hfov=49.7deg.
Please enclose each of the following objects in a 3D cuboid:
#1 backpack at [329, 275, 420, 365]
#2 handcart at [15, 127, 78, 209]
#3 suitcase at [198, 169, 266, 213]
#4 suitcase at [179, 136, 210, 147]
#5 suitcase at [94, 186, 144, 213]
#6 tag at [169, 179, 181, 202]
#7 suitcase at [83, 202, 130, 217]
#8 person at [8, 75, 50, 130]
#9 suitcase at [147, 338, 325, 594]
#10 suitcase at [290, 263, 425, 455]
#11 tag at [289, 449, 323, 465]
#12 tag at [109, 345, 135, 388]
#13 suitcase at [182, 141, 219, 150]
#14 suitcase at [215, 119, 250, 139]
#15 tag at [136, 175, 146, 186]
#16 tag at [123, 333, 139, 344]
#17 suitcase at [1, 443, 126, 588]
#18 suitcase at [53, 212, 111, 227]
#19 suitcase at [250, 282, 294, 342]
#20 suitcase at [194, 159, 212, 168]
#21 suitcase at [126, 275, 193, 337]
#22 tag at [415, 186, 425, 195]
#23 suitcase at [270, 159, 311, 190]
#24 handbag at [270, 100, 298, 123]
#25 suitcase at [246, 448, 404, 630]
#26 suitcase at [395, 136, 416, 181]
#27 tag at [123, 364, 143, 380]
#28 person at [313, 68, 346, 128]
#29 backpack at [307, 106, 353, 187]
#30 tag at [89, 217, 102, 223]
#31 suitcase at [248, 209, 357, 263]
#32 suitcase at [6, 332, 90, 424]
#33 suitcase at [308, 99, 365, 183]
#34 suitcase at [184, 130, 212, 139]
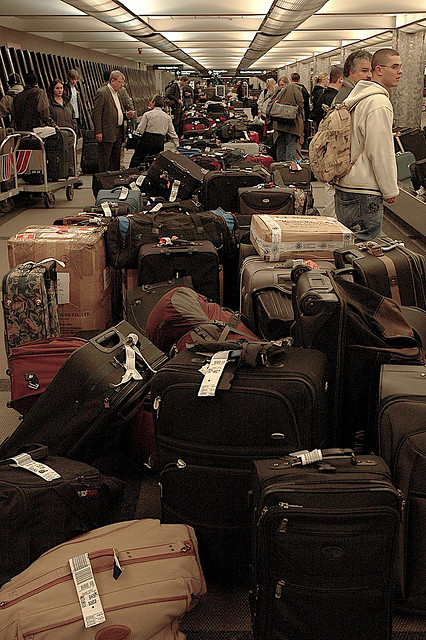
[{"bbox_3d":[0.605,0.017,1.713,0.271,0.382,0.121,6,-21,-5],"label":"backpack"},{"bbox_3d":[-3.328,-2.863,9.030,1.087,1.753,1.209,-3,22,-8],"label":"handcart"},{"bbox_3d":[0.135,-1.361,4.899,0.689,0.473,0.841,1,18,2],"label":"suitcase"},{"bbox_3d":[-0.342,-3.287,8.378,0.555,0.177,0.584,-1,18,1],"label":"suitcase"},{"bbox_3d":[-0.911,-1.208,4.535,0.578,0.337,0.546,-4,19,-11],"label":"suitcase"},{"bbox_3d":[-0.416,-1.403,5.037,0.136,0.242,0.088,12,-1,-9],"label":"tag"},{"bbox_3d":[-0.929,-0.969,4.048,0.316,0.127,0.346,0,9,1],"label":"suitcase"},{"bbox_3d":[-3.832,-4.520,9.598,0.891,0.972,0.390,5,14,35],"label":"person"},{"bbox_3d":[0.055,0.433,1.570,0.501,0.831,0.462,3,23,6],"label":"suitcase"},{"bbox_3d":[0.465,0.107,1.927,0.571,0.832,0.642,-2,17,-1],"label":"suitcase"},{"bbox_3d":[0.232,0.344,1.140,0.040,0.020,0.057,-4,5,-5],"label":"tag"},{"bbox_3d":[-0.344,0.157,1.725,0.029,0.113,0.106,13,-26,-25],"label":"tag"},{"bbox_3d":[-0.175,-2.853,7.658,0.454,0.162,0.362,1,18,0],"label":"suitcase"},{"bbox_3d":[0.415,-3.771,9.274,0.511,0.295,0.703,8,29,19],"label":"suitcase"},{"bbox_3d":[-0.818,-1.558,5.160,0.029,0.111,0.107,25,-17,-40],"label":"tag"},{"bbox_3d":[-0.332,0.080,1.886,0.039,0.012,0.041,-6,39,-3],"label":"tag"},{"bbox_3d":[-0.457,0.560,1.431,0.326,0.339,0.241,-1,17,-20],"label":"suitcase"},{"bbox_3d":[-1.062,-0.795,3.683,0.405,0.147,0.316,1,10,2],"label":"suitcase"},{"bbox_3d":[0.296,-0.050,2.257,0.217,0.250,0.273,-1,17,-7],"label":"suitcase"},{"bbox_3d":[-0.162,-2.099,6.164,0.166,0.086,0.238,6,15,28],"label":"suitcase"},{"bbox_3d":[-0.320,-0.108,2.691,0.335,0.329,0.379,-2,18,-11],"label":"suitcase"},{"bbox_3d":[3.191,-1.979,7.042,0.112,0.157,0.060,-8,-35,33],"label":"tag"},{"bbox_3d":[1.066,-1.982,6.231,0.644,0.468,0.578,-1,8,-2],"label":"suitcase"},{"bbox_3d":[1.463,-4.215,9.338,0.440,0.435,0.197,13,10,4],"label":"handbag"},{"bbox_3d":[0.259,0.539,1.112,0.348,0.394,0.231,-3,12,5],"label":"suitcase"},{"bbox_3d":[3.358,-2.656,8.010,0.297,0.495,0.332,1,13,23],"label":"suitcase"},{"bbox_3d":[-0.303,0.200,1.745,0.049,0.059,0.072,-12,15,-35],"label":"tag"},{"bbox_3d":[2.060,-3.809,7.848,0.430,1.315,0.357,7,-28,5],"label":"person"},{"bbox_3d":[0.984,-1.492,3.844,0.327,0.600,0.409,-11,26,0],"label":"backpack"},{"bbox_3d":[-0.902,-0.760,3.520,0.070,0.022,0.074,15,37,-4],"label":"tag"},{"bbox_3d":[0.582,-0.517,2.859,0.549,0.205,0.556,-5,20,-16],"label":"suitcase"},{"bbox_3d":[-0.763,0.273,2.118,0.338,0.329,0.242,2,13,24],"label":"suitcase"},{"bbox_3d":[1.030,-1.493,3.875,0.381,0.663,0.485,-3,17,-3],"label":"suitcase"},{"bbox_3d":[-0.310,-3.803,9.414,0.433,0.140,0.347,0,16,6],"label":"suitcase"}]
